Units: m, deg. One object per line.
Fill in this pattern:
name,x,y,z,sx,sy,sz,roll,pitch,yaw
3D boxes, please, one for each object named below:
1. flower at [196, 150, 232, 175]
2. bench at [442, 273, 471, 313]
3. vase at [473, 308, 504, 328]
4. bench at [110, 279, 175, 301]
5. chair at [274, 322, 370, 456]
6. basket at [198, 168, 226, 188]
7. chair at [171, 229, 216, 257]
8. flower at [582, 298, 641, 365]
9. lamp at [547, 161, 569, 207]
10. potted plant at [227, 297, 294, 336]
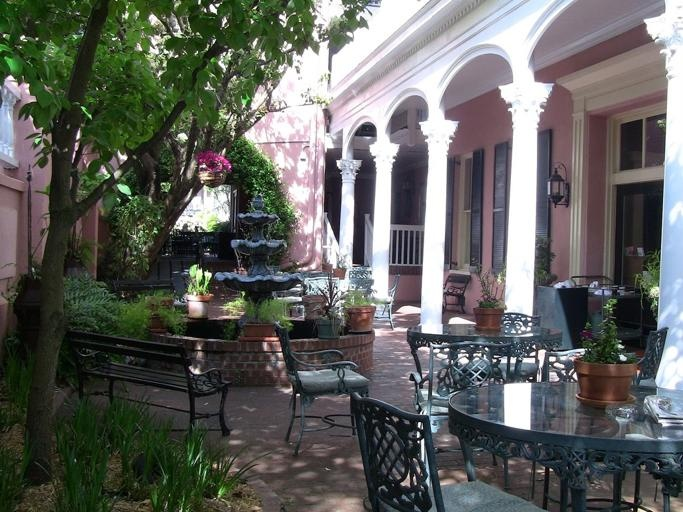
flower,-2.413,-1.789,10.279,0.459,0.337,0.497,7,19,-19
bench,3.035,0.939,14.642,0.893,1.247,0.863,2,-1,-45
vase,1.543,0.651,5.821,0.221,0.179,0.233,1,-4,-3
bench,-3.623,0.567,9.885,1.105,0.434,0.484,2,-12,-28
chair,-0.159,1.280,5.397,0.862,1.156,0.834,-3,-4,7
basket,-2.368,-1.452,10.308,0.339,0.240,0.351,2,0,38
chair,-5.571,-0.503,20.748,0.968,1.235,2.178,1,-8,20
flower,1.497,0.461,3.061,0.179,0.255,0.200,-4,2,-15
lamp,4.176,-1.414,10.804,0.447,0.910,0.495,6,-7,-19
potted plant,-1.177,0.833,7.713,0.708,0.598,0.808,1,-13,-10
